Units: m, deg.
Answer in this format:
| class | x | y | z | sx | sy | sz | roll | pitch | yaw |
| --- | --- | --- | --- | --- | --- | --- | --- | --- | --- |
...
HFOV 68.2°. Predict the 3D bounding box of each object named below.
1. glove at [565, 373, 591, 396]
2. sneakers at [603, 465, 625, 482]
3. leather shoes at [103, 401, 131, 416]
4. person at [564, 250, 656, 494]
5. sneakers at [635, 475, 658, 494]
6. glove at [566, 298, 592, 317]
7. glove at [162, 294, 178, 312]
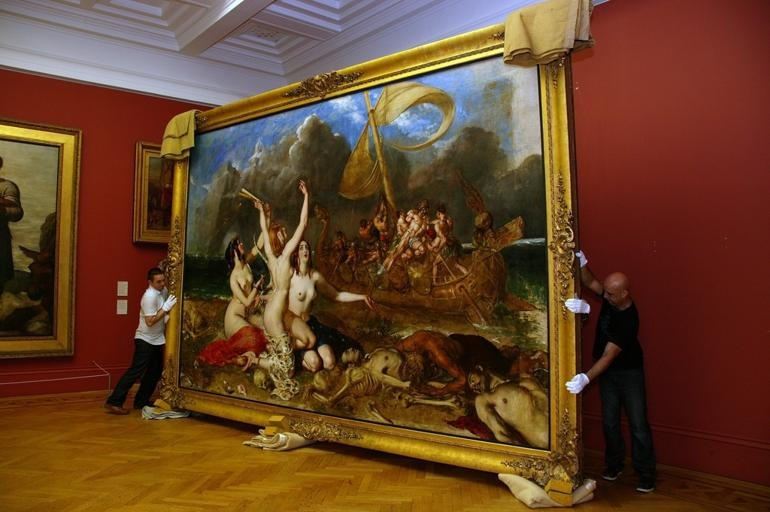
| class | x | y | z | sx | sy | sz | roll | pitch | yaw |
| --- | --- | --- | --- | --- | --- | --- | --- | --- | --- |
| glove | 2.159 | 1.420 | 6.372 | 0.246 | 0.205 | 0.101 | -31 | -1 | -5 |
| sneakers | 2.828 | 2.677 | 7.038 | 0.271 | 0.125 | 0.123 | 5 | -7 | -39 |
| leather shoes | -4.325 | 2.440 | 9.131 | 0.387 | 0.188 | 0.201 | 4 | -1 | -4 |
| person | 2.784 | 1.326 | 6.926 | 1.285 | 2.819 | 0.885 | -1 | 6 | -10 |
| sneakers | 3.064 | 2.693 | 6.722 | 0.116 | 0.145 | 0.324 | 0 | 4 | 38 |
| glove | 2.191 | 0.560 | 6.562 | 0.288 | 0.238 | 0.089 | 3 | 4 | -25 |
| glove | -3.360 | 0.730 | 8.913 | 0.169 | 0.273 | 0.068 | 32 | -6 | 6 |
